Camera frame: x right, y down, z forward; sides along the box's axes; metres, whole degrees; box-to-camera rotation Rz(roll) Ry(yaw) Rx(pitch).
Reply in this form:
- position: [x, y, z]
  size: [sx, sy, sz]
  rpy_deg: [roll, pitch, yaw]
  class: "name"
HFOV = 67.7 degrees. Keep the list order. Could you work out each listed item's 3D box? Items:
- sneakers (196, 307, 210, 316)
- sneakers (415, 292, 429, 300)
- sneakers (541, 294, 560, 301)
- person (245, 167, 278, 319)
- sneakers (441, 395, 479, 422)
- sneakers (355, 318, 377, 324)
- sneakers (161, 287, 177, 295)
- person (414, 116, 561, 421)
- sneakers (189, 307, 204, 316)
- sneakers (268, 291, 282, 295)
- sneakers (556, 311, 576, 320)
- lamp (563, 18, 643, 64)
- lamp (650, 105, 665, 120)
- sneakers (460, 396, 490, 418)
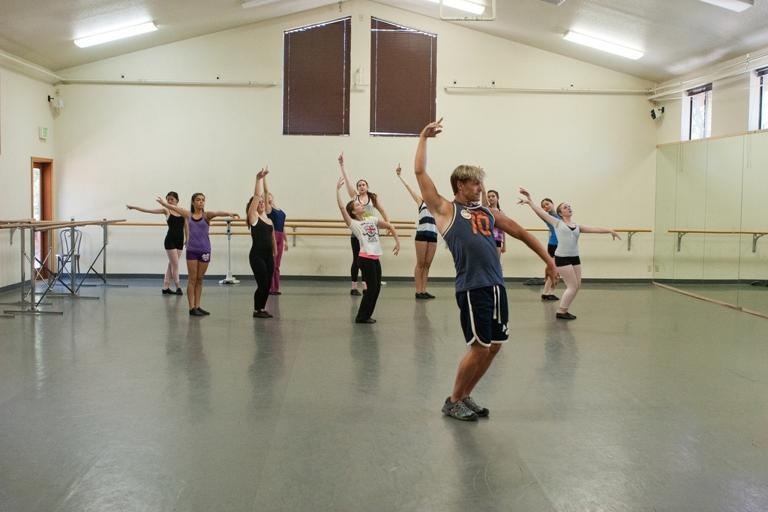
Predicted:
- position: [-2.567, 0.789, 8.138]
  size: [0.216, 0.091, 0.081]
  rpy_deg: [1, 4, 15]
  class: "sneakers"
- position: [0.631, 0.678, 9.777]
  size: [0.192, 0.085, 0.108]
  rpy_deg: [-2, 0, 6]
  class: "sneakers"
- position: [2.875, 0.705, 9.864]
  size: [0.299, 0.116, 0.110]
  rpy_deg: [0, -5, 1]
  class: "sneakers"
- position: [-1.729, -0.170, 8.007]
  size: [0.348, 2.066, 0.853]
  rpy_deg: [-1, 8, -13]
  class: "person"
- position: [0.641, 1.296, 4.874]
  size: [0.299, 0.142, 0.136]
  rpy_deg: [1, 0, 31]
  class: "sneakers"
- position: [-0.246, 0.852, 7.771]
  size: [0.285, 0.125, 0.097]
  rpy_deg: [-1, 1, -5]
  class: "sneakers"
- position: [-3.768, 0.615, 9.977]
  size: [0.300, 0.126, 0.103]
  rpy_deg: [0, -1, -9]
  class: "sneakers"
- position: [0.769, 0.127, 4.801]
  size: [1.074, 2.442, 0.445]
  rpy_deg: [3, 8, 17]
  class: "person"
- position: [-2.659, 0.787, 8.075]
  size: [0.242, 0.098, 0.085]
  rpy_deg: [-4, -2, 17]
  class: "sneakers"
- position: [-1.921, 0.646, 10.000]
  size: [0.202, 0.083, 0.062]
  rpy_deg: [9, -22, -30]
  class: "sneakers"
- position: [2.626, 0.851, 8.229]
  size: [0.251, 0.103, 0.126]
  rpy_deg: [0, 1, 5]
  class: "sneakers"
- position: [4.267, -4.092, 11.131]
  size: [1.570, 0.456, 0.662]
  rpy_deg: [1, 8, -3]
  class: "lamp"
- position: [5.840, -3.057, 12.202]
  size: [0.107, 0.244, 0.247]
  rpy_deg: [-1, -13, 41]
  class: "lamp"
- position: [0.809, 1.285, 4.895]
  size: [0.308, 0.134, 0.111]
  rpy_deg: [0, 0, -31]
  class: "sneakers"
